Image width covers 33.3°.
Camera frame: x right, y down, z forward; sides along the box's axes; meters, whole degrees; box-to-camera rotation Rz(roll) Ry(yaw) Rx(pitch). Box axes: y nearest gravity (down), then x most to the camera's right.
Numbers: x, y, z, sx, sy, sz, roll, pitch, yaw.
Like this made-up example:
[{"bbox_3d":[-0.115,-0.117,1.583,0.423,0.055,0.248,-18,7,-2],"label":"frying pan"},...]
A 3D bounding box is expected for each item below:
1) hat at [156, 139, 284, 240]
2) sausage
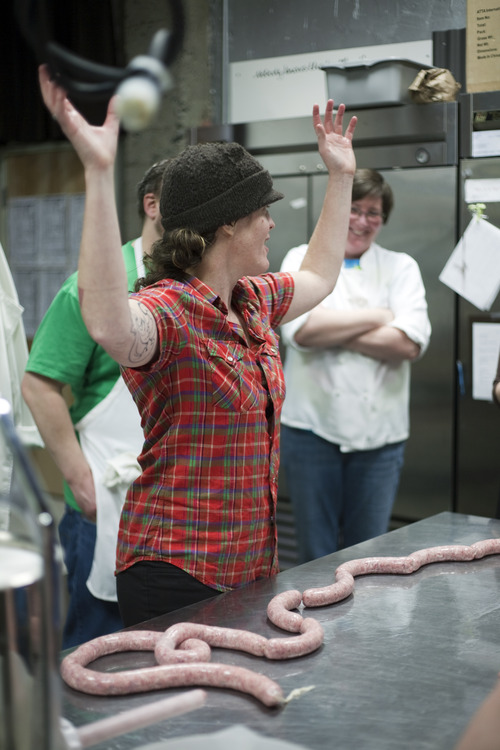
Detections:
[{"bbox_3d":[-0.067,-0.335,1.442,0.253,0.137,0.175,-6,37,-3],"label":"hat"},{"bbox_3d":[0.033,0.322,1.218,0.552,0.025,0.178,-1,2,-45],"label":"sausage"}]
